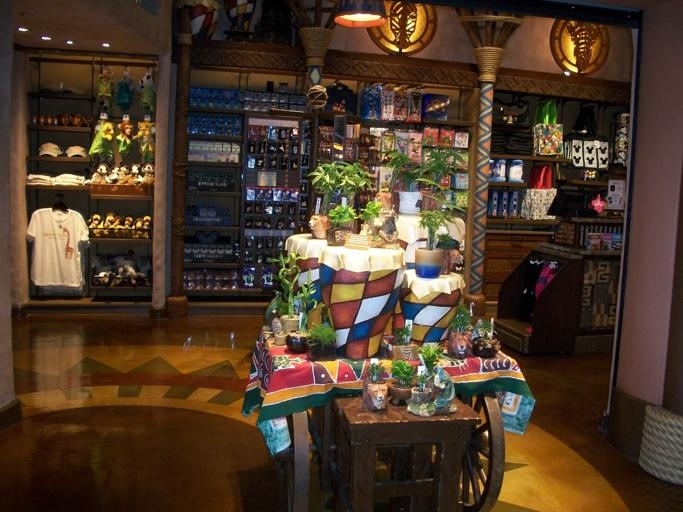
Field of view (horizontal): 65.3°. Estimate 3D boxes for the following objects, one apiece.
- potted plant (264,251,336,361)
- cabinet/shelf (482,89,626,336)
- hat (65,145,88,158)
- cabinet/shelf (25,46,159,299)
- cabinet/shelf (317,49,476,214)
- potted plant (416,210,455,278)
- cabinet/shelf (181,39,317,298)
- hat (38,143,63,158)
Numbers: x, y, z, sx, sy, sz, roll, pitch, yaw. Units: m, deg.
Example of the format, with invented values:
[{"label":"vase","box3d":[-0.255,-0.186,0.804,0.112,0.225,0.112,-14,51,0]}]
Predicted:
[{"label":"potted plant","box3d":[-0.268,0.358,3.683,0.359,0.606,0.656,-5,11,-31]},{"label":"cabinet/shelf","box3d":[3.439,-0.958,8.962,2.231,3.499,3.565,8,13,26]},{"label":"hat","box3d":[-3.817,-1.502,7.709,0.291,0.154,0.422,-3,13,-26]},{"label":"cabinet/shelf","box3d":[-3.619,-1.116,7.790,1.804,3.487,1.325,-1,12,-19]},{"label":"cabinet/shelf","box3d":[1.055,-2.405,8.508,2.111,1.312,0.707,11,33,16]},{"label":"potted plant","box3d":[0.677,-0.100,3.936,0.211,0.461,0.393,6,12,18]},{"label":"cabinet/shelf","box3d":[-1.341,-1.064,8.430,2.242,4.082,1.366,4,6,23]},{"label":"hat","box3d":[-4.173,-1.515,7.659,0.212,0.124,0.311,-2,14,-25]}]
